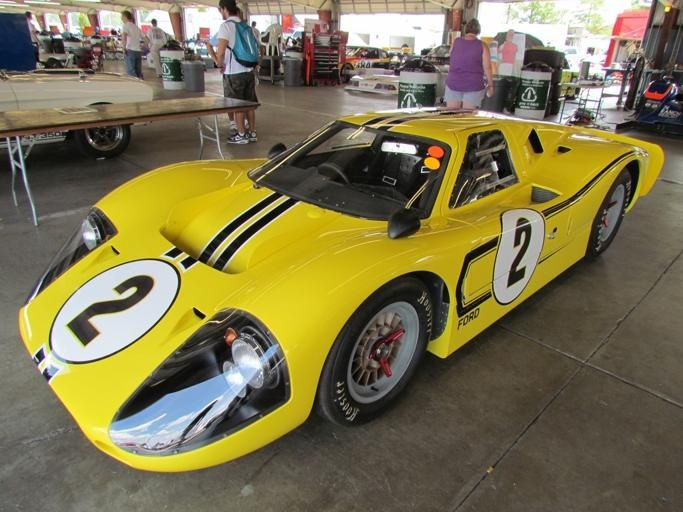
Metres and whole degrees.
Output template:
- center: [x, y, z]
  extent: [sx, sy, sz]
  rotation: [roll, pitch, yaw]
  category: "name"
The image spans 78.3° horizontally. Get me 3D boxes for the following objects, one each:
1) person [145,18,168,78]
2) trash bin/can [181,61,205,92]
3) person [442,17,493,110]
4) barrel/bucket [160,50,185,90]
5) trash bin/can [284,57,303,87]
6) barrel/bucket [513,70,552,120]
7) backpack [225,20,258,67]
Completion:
- center: [-6.613, -7.648, 15.019]
  extent: [0.684, 1.995, 0.633]
  rotation: [-16, 56, -25]
  category: "person"
- center: [-4.107, -5.011, 11.653]
  extent: [0.571, 0.762, 0.521]
  rotation: [-7, 28, -12]
  category: "trash bin/can"
- center: [2.037, -2.996, 6.514]
  extent: [0.752, 1.253, 0.497]
  rotation: [9, 29, 19]
  category: "person"
- center: [-4.934, -5.488, 12.286]
  extent: [0.671, 1.078, 0.672]
  rotation: [4, 25, -2]
  category: "barrel/bucket"
- center: [-1.784, -6.799, 15.239]
  extent: [0.552, 0.983, 1.089]
  rotation: [4, 28, 10]
  category: "trash bin/can"
- center: [4.603, -3.985, 9.871]
  extent: [0.734, 1.288, 0.765]
  rotation: [-6, 38, 4]
  category: "barrel/bucket"
- center: [-1.478, -3.290, 6.439]
  extent: [0.381, 0.674, 0.466]
  rotation: [5, 34, 7]
  category: "backpack"
